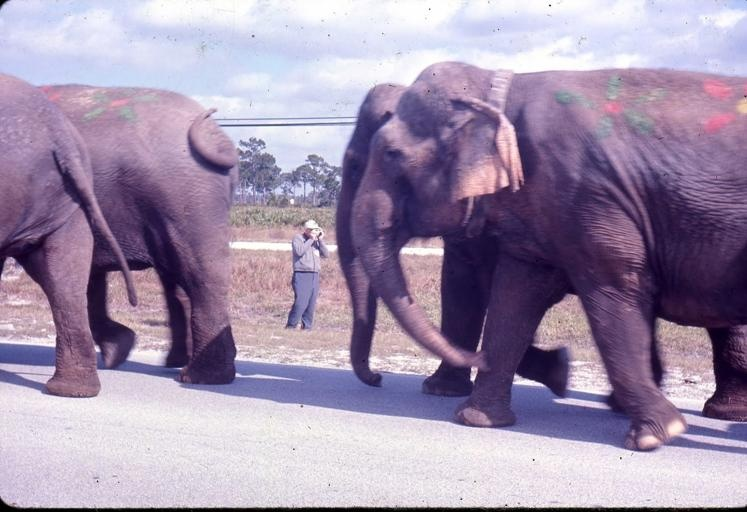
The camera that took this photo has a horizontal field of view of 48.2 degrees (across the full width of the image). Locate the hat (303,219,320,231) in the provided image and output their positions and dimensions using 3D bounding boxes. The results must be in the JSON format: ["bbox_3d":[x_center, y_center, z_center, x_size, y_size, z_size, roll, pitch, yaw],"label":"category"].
[{"bbox_3d":[-0.682,-0.355,9.426,0.186,0.081,0.260,0,3,-11],"label":"hat"}]

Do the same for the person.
[{"bbox_3d":[-0.741,0.202,9.389,0.426,1.211,0.702,2,6,-4],"label":"person"}]
